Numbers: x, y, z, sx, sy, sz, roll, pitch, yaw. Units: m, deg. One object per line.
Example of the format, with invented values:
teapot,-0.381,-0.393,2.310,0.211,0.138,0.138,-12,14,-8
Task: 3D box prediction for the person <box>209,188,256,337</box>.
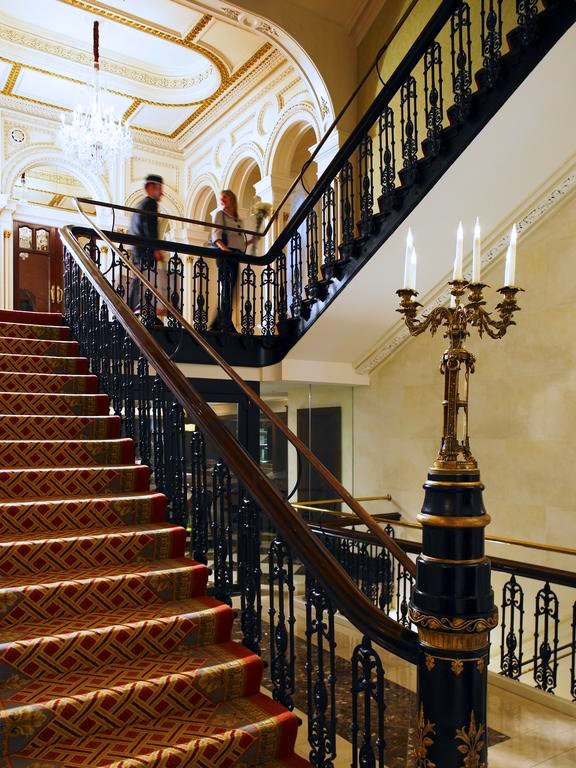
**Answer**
person,-0.596,-1.298,7.733,0.426,1.646,0.878,4,-8,-7
